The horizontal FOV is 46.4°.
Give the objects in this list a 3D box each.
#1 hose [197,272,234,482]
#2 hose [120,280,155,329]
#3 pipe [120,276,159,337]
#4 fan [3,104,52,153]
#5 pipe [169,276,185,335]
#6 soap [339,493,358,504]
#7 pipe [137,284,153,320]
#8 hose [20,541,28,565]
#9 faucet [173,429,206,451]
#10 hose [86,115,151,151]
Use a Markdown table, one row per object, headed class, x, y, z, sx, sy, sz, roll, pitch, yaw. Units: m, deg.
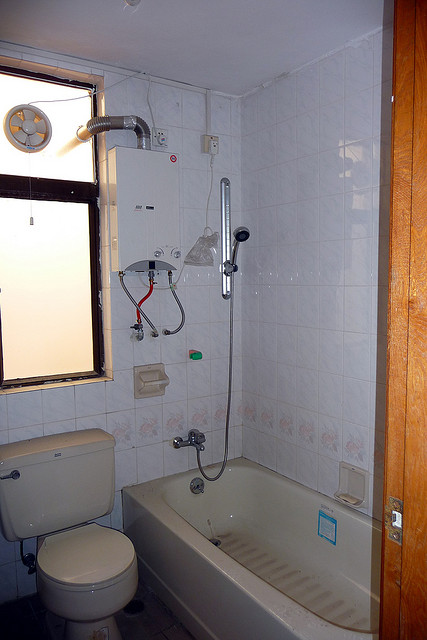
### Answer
| class | x | y | z | sx | sy | sz | roll | pitch | yaw |
| --- | --- | --- | --- | --- | --- | --- | --- | --- | --- |
| hose | 0.043 | 0.421 | 2.719 | 0.147 | 1.357 | 0.161 | -3 | 9 | -33 |
| hose | -0.392 | -0.085 | 2.520 | 0.039 | 0.289 | 0.041 | 0 | 39 | 43 |
| pipe | -0.368 | -0.062 | 2.502 | 0.136 | 0.319 | 0.088 | -1 | 8 | -28 |
| fan | -0.805 | -0.830 | 2.156 | 0.114 | 0.183 | 0.195 | 4 | 8 | 27 |
| pipe | -0.198 | -0.044 | 2.653 | 0.065 | 0.245 | 0.152 | 3 | 8 | 26 |
| soap | 0.598 | 0.788 | 2.207 | 0.047 | 0.014 | 0.044 | 9 | 0 | 44 |
| pipe | -0.354 | -0.101 | 2.544 | 0.071 | 0.237 | 0.038 | 4 | 34 | -8 |
| hose | -0.813 | 0.987 | 2.119 | 0.020 | 0.094 | 0.062 | -9 | 6 | -32 |
| faucet | -0.135 | 0.645 | 2.666 | 0.162 | 0.115 | 0.155 | -1 | 8 | -6 |
| hose | -0.435 | -0.872 | 2.310 | 0.304 | 0.160 | 0.117 | -4 | 8 | -25 |
